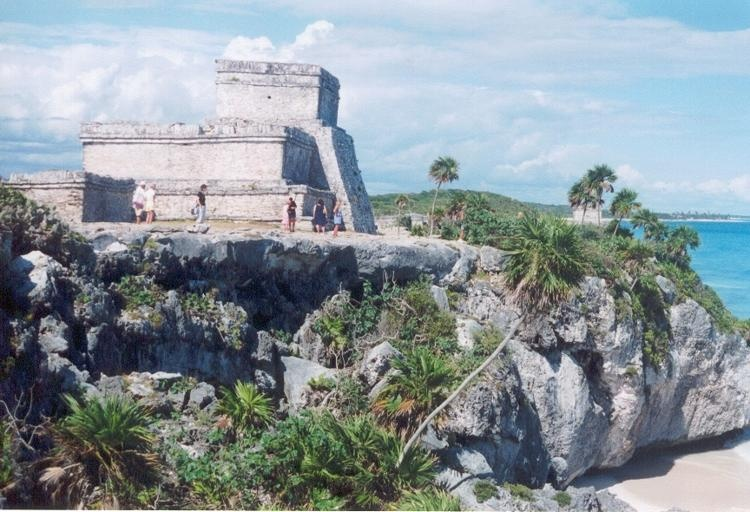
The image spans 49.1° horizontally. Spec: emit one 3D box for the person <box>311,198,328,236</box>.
[{"bbox_3d":[-2.855,-2.025,42.801,0.694,1.857,1.578,3,7,-8],"label":"person"}]

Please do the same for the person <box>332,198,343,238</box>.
[{"bbox_3d":[-2.069,-2.025,45.314,0.688,2.379,0.790,1,54,-2],"label":"person"}]
